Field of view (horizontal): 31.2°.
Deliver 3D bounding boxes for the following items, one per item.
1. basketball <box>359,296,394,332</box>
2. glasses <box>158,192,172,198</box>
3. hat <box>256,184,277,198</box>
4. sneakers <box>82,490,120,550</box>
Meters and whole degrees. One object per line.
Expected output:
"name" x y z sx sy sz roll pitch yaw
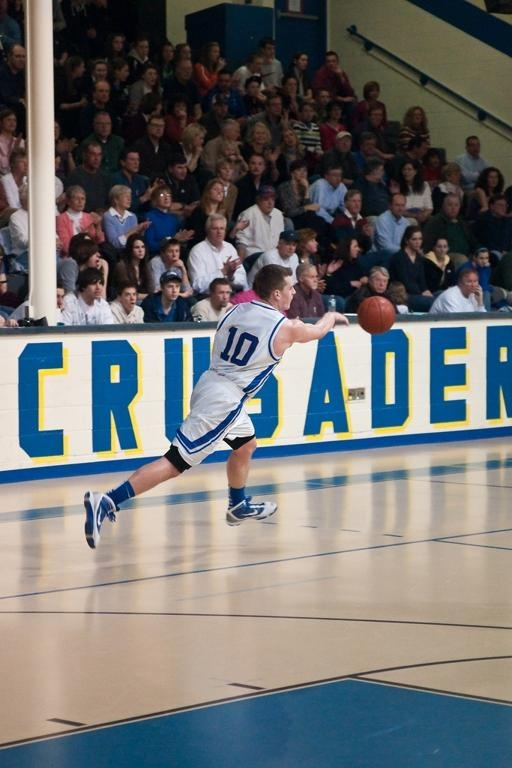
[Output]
"basketball" 0.959 -0.578 7.612 0.315 0.336 0.297 -1 5 6
"glasses" -1.067 -2.217 10.801 0.062 0.086 0.167 7 13 34
"hat" 0.140 -2.432 11.632 0.213 0.148 0.338 6 12 31
"sneakers" -0.907 0.743 5.281 0.194 0.387 0.137 -8 5 -27
